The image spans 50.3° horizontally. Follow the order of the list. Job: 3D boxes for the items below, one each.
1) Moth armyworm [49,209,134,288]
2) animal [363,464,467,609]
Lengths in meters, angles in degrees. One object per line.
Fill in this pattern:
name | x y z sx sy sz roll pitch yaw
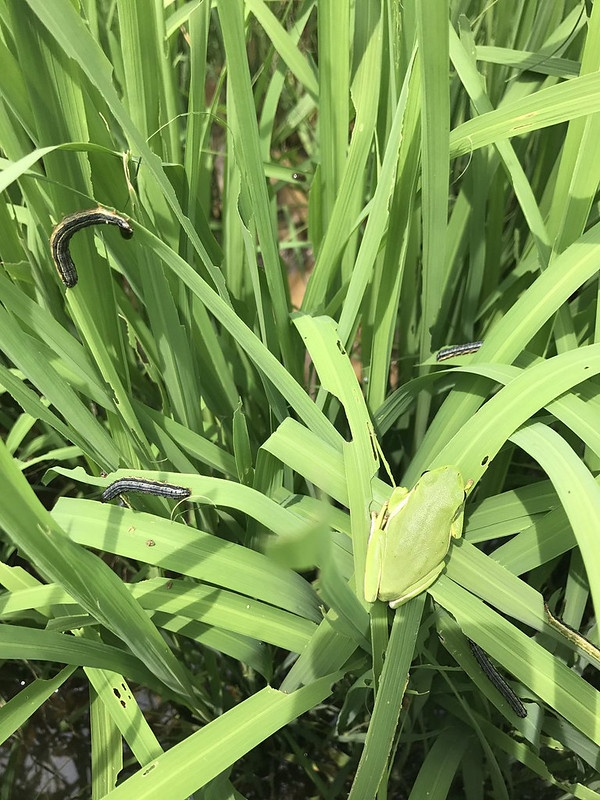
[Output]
Moth armyworm | -0.151 -0.114 0.444 0.037 0.016 0.063 37 57 4
animal | 0.073 0.089 0.418 0.058 0.025 0.101 26 69 20
